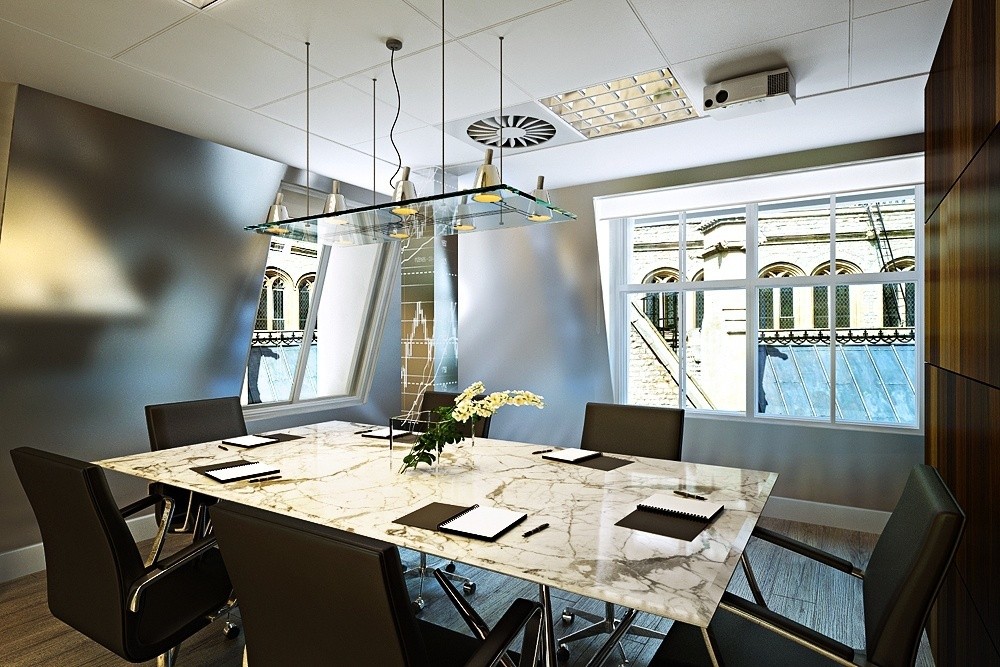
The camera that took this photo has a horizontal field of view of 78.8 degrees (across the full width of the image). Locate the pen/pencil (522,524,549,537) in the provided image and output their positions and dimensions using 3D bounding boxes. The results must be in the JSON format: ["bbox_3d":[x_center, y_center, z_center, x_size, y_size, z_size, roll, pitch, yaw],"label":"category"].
[{"bbox_3d":[0.183,1.004,3.078,0.023,0.027,0.176,-1,3,36],"label":"pen/pencil"}]

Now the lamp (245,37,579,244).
[{"bbox_3d":[-0.898,-1.069,4.523,2.984,1.064,0.885,-1,-3,39],"label":"lamp"}]

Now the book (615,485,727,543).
[{"bbox_3d":[0.930,0.986,3.284,0.413,0.071,0.579,2,5,33],"label":"book"}]
